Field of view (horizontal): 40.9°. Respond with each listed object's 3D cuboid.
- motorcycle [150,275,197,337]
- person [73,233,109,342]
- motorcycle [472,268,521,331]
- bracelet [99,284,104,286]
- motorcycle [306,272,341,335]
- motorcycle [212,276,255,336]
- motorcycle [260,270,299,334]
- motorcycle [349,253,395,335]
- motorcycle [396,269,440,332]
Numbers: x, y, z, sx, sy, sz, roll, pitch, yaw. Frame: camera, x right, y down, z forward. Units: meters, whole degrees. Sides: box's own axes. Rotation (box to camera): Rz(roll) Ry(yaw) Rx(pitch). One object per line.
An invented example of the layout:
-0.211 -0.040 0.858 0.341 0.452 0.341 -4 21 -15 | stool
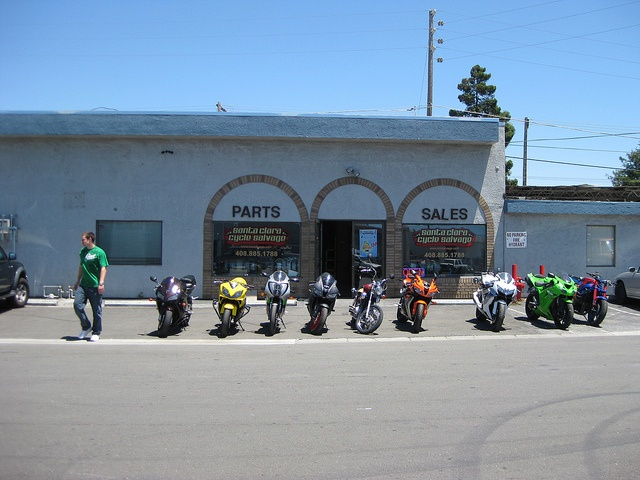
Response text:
-3.485 1.573 20.378 0.651 1.540 1.303 2 13 9 | motorcycle
-5.197 1.103 19.507 0.741 2.499 0.902 -3 13 -16 | person
4.429 1.534 21.659 0.545 1.367 1.246 -3 13 -14 | motorcycle
-4.855 1.015 19.202 0.048 0.070 0.074 8 -2 -24 | bracelet
0.068 1.585 20.742 0.690 1.426 0.992 0 13 -2 | motorcycle
-2.056 1.648 20.282 0.694 1.342 1.040 4 13 15 | motorcycle
-0.997 1.560 20.738 0.750 1.571 1.473 0 13 -2 | motorcycle
1.162 1.638 21.646 0.833 1.385 1.991 20 -5 -3 | motorcycle
2.421 1.545 21.413 0.659 1.447 1.280 -2 13 -10 | motorcycle
